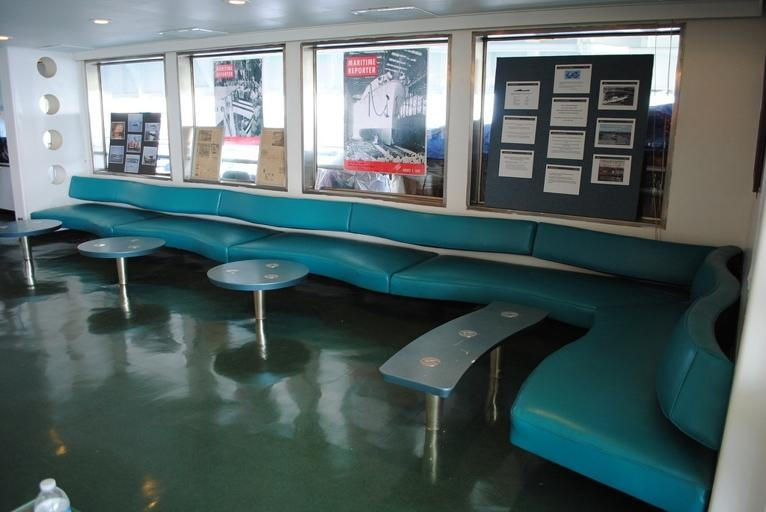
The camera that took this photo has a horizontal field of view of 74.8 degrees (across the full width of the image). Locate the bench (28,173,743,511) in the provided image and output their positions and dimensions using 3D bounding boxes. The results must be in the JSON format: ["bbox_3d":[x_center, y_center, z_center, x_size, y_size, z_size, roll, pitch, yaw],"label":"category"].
[{"bbox_3d":[-0.997,-0.060,6.286,9.288,1.526,2.913,10,16,39],"label":"bench"}]
